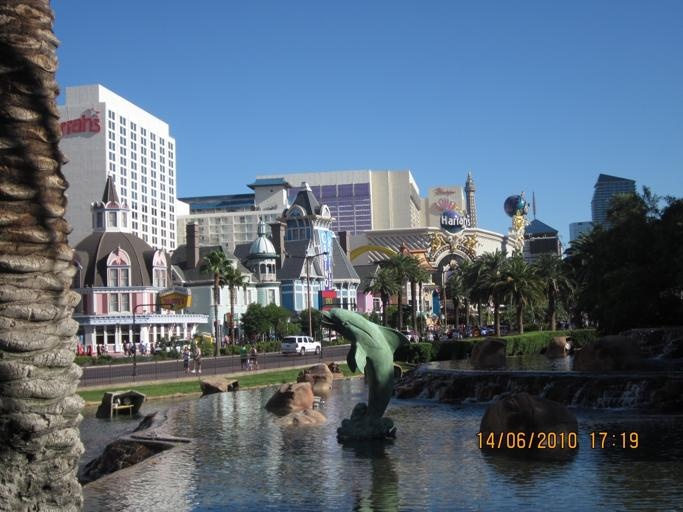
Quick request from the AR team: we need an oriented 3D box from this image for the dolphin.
[{"bbox_3d":[0.760,3.554,31.540,2.341,3.931,2.289,-3,-5,-6],"label":"dolphin"}]
